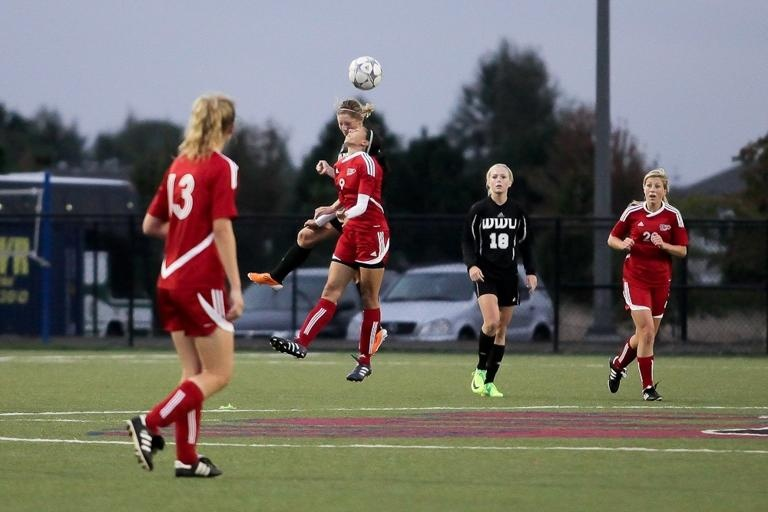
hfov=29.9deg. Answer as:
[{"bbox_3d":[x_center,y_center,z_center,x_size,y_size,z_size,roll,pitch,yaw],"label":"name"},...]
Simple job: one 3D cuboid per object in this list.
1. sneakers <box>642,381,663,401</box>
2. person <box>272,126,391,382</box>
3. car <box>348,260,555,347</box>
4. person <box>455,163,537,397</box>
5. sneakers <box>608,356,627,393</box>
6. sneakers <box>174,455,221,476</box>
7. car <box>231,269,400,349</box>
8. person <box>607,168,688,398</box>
[{"bbox_3d":[3.500,1.812,18.870,0.134,0.179,0.386,0,-7,-6],"label":"sneakers"},{"bbox_3d":[-0.523,-0.020,18.895,1.263,3.014,0.957,-1,0,-14],"label":"person"},{"bbox_3d":[1.537,0.981,27.212,3.021,1.405,1.743,3,-4,-43],"label":"car"},{"bbox_3d":[1.546,0.324,19.116,0.952,2.622,0.645,-1,0,3],"label":"person"},{"bbox_3d":[3.187,1.623,19.418,0.210,0.634,0.288,-7,13,-23],"label":"sneakers"},{"bbox_3d":[-1.984,2.252,15.380,0.486,0.213,0.195,0,-2,-4],"label":"sneakers"},{"bbox_3d":[-1.721,1.029,28.017,2.466,1.231,1.527,1,0,-2],"label":"car"},{"bbox_3d":[3.495,0.372,19.073,1.017,2.434,0.937,-1,0,9],"label":"person"}]
